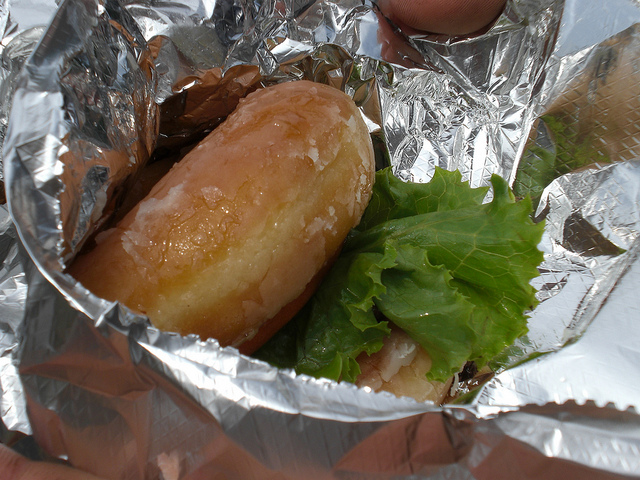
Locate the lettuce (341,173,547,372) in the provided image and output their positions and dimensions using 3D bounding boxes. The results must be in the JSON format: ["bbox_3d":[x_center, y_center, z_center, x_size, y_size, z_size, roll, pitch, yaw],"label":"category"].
[{"bbox_3d":[0.250,0.014,1.109,0.324,0.315,0.295,5,24,15],"label":"lettuce"}]

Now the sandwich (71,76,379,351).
[{"bbox_3d":[-0.065,-0.060,1.099,0.314,0.303,0.647,2,40,25],"label":"sandwich"}]

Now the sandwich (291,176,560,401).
[{"bbox_3d":[0.168,0.104,0.963,0.394,0.151,0.423,15,78,25],"label":"sandwich"}]
